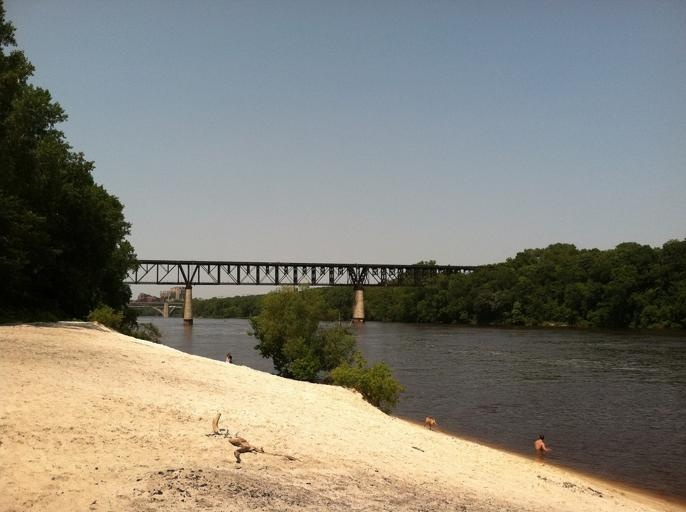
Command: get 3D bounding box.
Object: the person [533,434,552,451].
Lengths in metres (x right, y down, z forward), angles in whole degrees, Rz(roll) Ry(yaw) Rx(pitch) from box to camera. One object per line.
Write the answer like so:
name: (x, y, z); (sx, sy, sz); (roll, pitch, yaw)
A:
person: (13.771, 12.927, 58.148); (0.948, 1.330, 1.209); (1, 3, -24)
